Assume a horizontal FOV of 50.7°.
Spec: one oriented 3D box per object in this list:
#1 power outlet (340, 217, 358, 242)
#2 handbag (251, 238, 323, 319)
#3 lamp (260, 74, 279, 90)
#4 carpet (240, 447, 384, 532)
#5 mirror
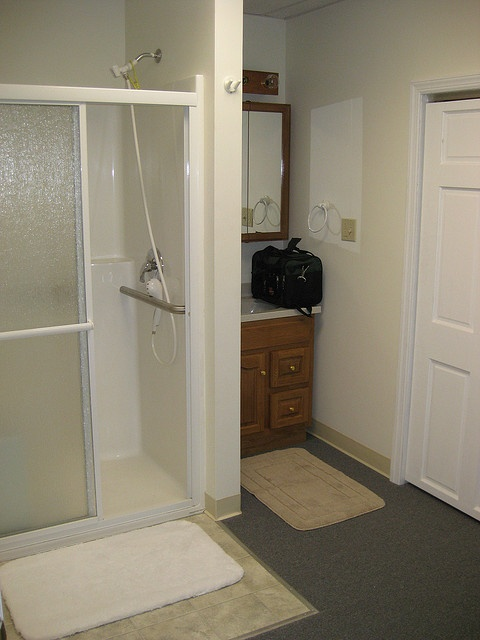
[{"bbox_3d":[0.606,-0.501,2.814,0.026,0.136,0.133,-1,5,-22],"label":"power outlet"},{"bbox_3d":[0.344,-0.301,3.147,0.422,0.412,0.430,-8,17,-34],"label":"handbag"},{"bbox_3d":[0.183,-1.450,3.071,0.095,0.084,0.034,-2,26,27],"label":"lamp"},{"bbox_3d":[0.328,0.862,2.609,0.540,0.054,0.733,-2,6,-31],"label":"carpet"},{"bbox_3d":[0.158,-0.911,3.127,0.384,0.834,0.103,-2,5,-31],"label":"mirror"}]
